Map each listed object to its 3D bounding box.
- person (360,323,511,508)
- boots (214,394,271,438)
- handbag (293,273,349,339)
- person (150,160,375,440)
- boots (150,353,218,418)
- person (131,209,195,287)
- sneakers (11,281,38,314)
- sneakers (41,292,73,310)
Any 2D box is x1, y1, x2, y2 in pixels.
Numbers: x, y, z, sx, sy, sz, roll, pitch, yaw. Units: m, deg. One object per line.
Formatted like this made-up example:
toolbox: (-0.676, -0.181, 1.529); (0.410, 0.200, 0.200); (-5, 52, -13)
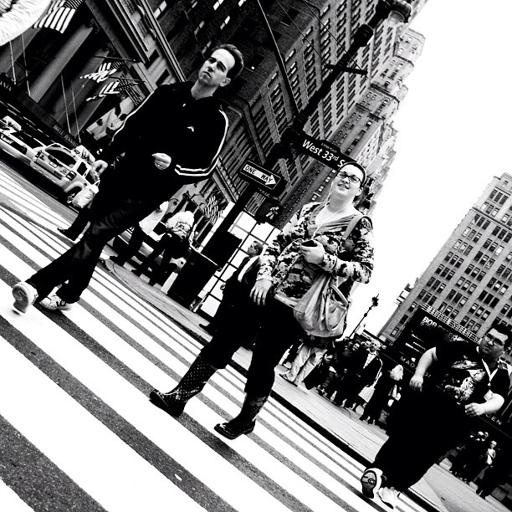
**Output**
person: (1.447, 1.193, 4.356); (0.684, 1.426, 0.703); (33, -8, 17)
boots: (-0.100, 0.979, 3.448); (0.105, 0.235, 0.329); (22, 7, 38)
handbag: (0.421, 0.331, 3.811); (0.234, 0.428, 0.421); (3, -22, 39)
person: (0.281, 0.256, 3.703); (0.731, 2.000, 0.859); (35, -8, 3)
boots: (-0.435, 0.754, 3.355); (0.199, 0.396, 0.395); (34, -8, 11)
person: (-1.582, -0.252, 10.645); (0.808, 1.683, 0.535); (47, -14, -8)
sneakers: (-1.334, 0.242, 3.269); (0.090, 0.104, 0.247); (19, -56, 18)
sneakers: (-1.324, 0.312, 3.723); (0.217, 0.093, 0.073); (15, 28, -44)
